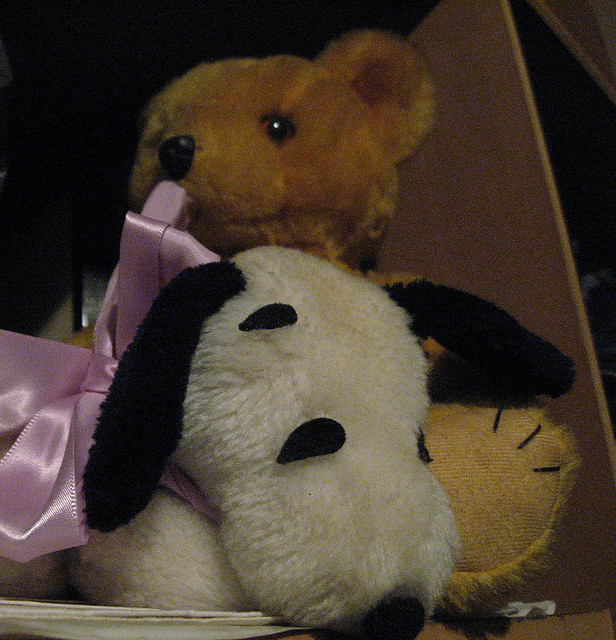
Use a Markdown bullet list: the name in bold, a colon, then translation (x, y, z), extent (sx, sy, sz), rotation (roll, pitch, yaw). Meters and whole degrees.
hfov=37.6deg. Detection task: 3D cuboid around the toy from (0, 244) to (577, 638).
- **toy**: translation (-0.073, 0.103, 1.093), extent (0.506, 0.583, 0.273), rotation (4, 88, -33)
